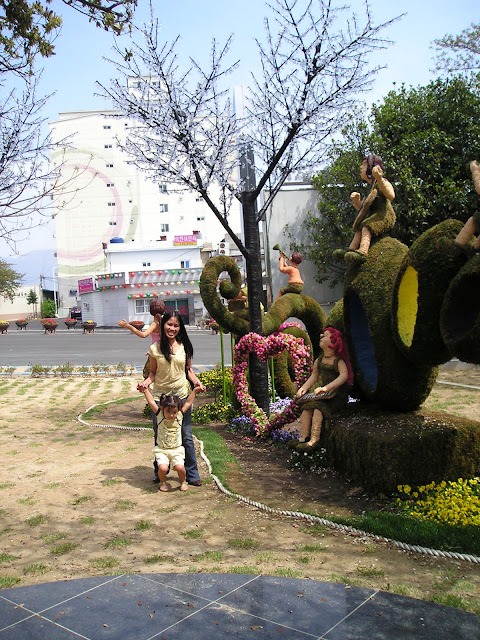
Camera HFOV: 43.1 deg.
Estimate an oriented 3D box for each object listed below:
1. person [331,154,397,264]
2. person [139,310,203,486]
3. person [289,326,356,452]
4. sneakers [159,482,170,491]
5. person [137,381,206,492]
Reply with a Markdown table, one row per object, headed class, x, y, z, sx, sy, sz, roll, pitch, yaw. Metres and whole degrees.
| class | x | y | z | sx | sy | sz | roll | pitch | yaw |
| --- | --- | --- | --- | --- | --- | --- | --- | --- | --- |
| person | 1.570 | -1.416 | 7.520 | 0.650 | 1.406 | 0.800 | -2 | 1 | 13 |
| person | -0.759 | 0.867 | 6.607 | 0.910 | 1.792 | 0.674 | -2 | 3 | -9 |
| person | 1.020 | 0.827 | 7.421 | 0.703 | 1.000 | 0.514 | -2 | 1 | 4 |
| sneakers | -0.798 | 1.794 | 6.499 | 0.058 | 0.105 | 0.152 | 7 | -27 | -25 |
| person | -0.758 | 1.249 | 6.509 | 0.601 | 0.912 | 0.414 | -2 | 1 | -8 |
